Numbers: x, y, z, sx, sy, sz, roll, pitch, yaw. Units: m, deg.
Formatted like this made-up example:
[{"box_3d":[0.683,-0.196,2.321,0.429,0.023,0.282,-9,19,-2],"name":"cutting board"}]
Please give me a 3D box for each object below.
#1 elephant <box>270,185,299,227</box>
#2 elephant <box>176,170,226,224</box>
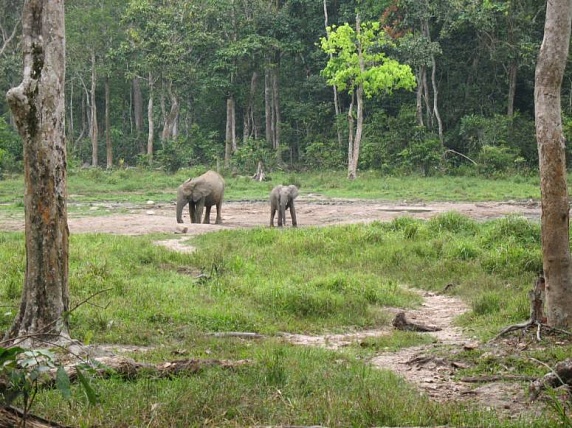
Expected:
[{"box_3d":[-0.091,-0.303,40.349,1.038,1.763,2.772,-3,1,-10],"name":"elephant"},{"box_3d":[-3.613,-0.598,41.190,1.387,2.347,2.724,7,10,42],"name":"elephant"}]
